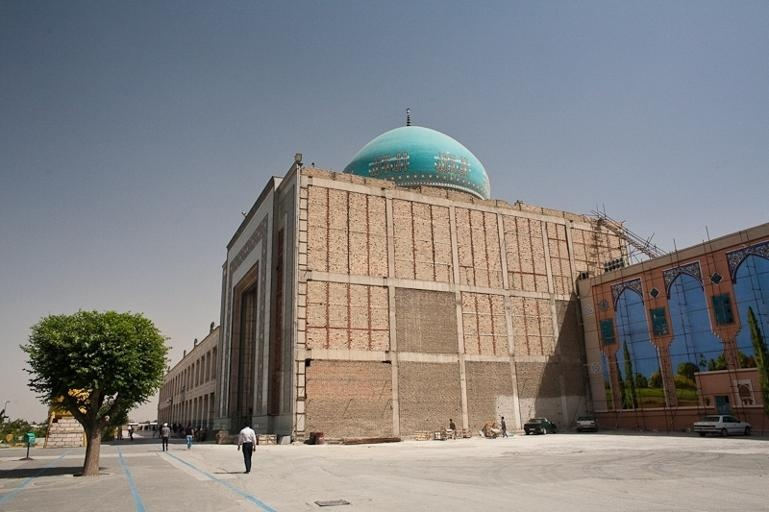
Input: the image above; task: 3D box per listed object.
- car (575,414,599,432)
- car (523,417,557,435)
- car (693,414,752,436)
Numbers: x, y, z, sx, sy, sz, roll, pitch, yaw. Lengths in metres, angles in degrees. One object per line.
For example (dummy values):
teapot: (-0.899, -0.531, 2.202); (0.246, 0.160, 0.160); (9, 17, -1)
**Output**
car: (20.653, 16.969, 50.680); (1.567, 1.169, 2.679); (-3, -13, 14)
car: (14.973, 16.495, 47.901); (2.547, 0.814, 1.706); (-17, -23, 34)
car: (26.645, 13.240, 38.806); (3.462, 1.465, 1.338); (-2, -18, -1)
